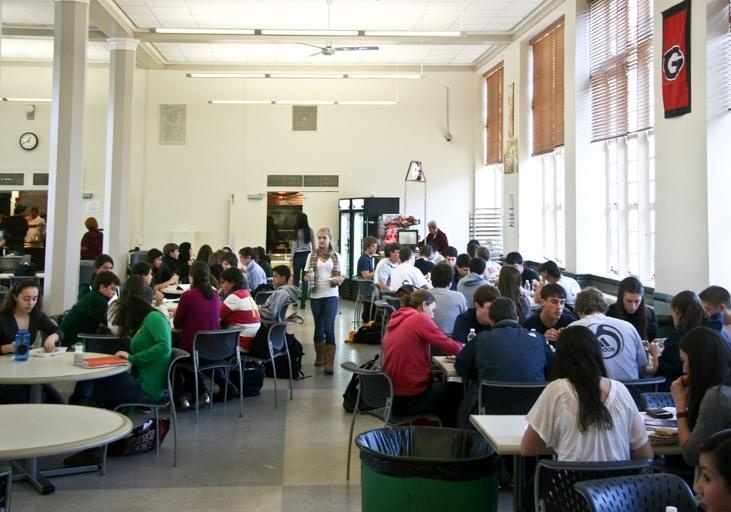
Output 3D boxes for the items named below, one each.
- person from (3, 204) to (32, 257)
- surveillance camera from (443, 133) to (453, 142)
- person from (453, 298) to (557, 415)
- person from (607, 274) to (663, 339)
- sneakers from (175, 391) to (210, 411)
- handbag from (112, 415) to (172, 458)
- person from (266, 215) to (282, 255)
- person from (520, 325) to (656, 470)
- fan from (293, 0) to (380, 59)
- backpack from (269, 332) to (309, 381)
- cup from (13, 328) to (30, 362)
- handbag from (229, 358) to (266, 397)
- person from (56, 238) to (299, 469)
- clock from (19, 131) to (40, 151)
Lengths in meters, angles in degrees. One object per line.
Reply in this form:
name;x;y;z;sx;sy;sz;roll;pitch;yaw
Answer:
person;-7.333;-0.536;12.902;0.511;0.933;2.673;-1;7;-29
surveillance camera;1.902;-2.724;14.296;0.208;0.193;0.066;0;5;-15
person;0.948;0.686;4.646;0.830;1.143;0.758;1;7;2
person;2.452;0.566;5.759;0.466;0.743;0.433;-7;20;13
sneakers;-1.687;1.487;6.282;0.478;0.214;0.173;6;-6;-13
handbag;-1.917;1.515;5.184;0.290;0.124;0.300;-10;7;24
person;-2.252;-0.483;14.472;0.329;1.054;0.337;-6;-34;-10
person;1.235;0.913;3.506;0.711;1.021;0.571;-3;-3;12
fan;-0.397;-4.024;10.245;1.381;0.995;1.429;0;12;-2
backpack;-0.884;1.205;7.485;0.499;0.626;0.445;3;3;41
cup;-2.635;0.684;4.751;0.089;0.225;0.186;-1;6;-25
handbag;-1.311;1.372;6.815;0.359;0.268;0.292;1;-7;-11
person;-1.862;0.760;5.501;1.452;1.011;1.582;2;5;36
clock;-7.527;-2.550;13.809;0.389;0.412;0.094;0;-6;-3
